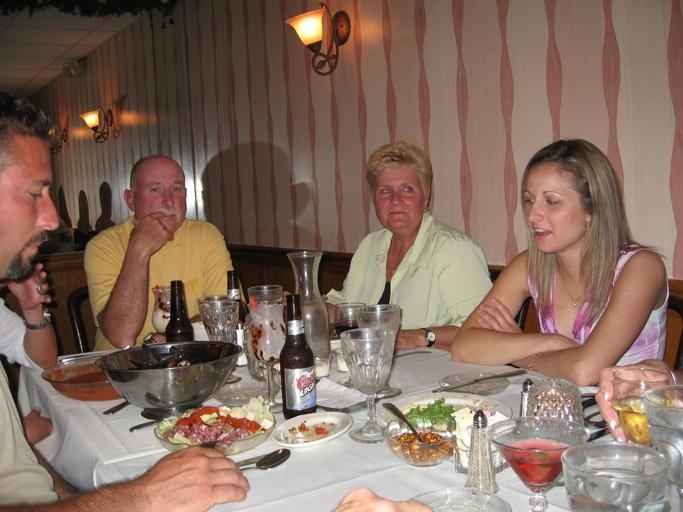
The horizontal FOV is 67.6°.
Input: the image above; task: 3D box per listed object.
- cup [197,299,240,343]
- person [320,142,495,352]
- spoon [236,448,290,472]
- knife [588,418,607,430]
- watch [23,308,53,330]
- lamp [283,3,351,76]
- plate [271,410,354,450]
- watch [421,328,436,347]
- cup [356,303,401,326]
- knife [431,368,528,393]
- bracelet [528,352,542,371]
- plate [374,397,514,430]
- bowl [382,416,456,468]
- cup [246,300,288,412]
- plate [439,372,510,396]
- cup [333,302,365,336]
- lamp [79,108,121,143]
[{"bbox_3d":[-0.453,0.232,1.894,0.152,0.182,0.158,1,-4,0],"label":"cup"},{"bbox_3d":[0.271,0.002,2.782,1.182,1.125,0.722,-1,-4,45],"label":"person"},{"bbox_3d":[-0.179,0.481,1.197,0.127,0.018,0.057,-6,5,-12],"label":"spoon"},{"bbox_3d":[0.619,0.407,1.230,0.045,0.012,0.047,-2,6,-1],"label":"knife"},{"bbox_3d":[-1.242,0.260,2.086,0.082,0.036,0.088,-4,16,-9],"label":"watch"},{"bbox_3d":[-0.177,-1.731,4.167,0.598,0.710,0.386,-14,17,-38],"label":"lamp"},{"bbox_3d":[-0.075,0.448,1.318,0.202,0.031,0.206,-9,3,-35],"label":"plate"},{"bbox_3d":[0.364,0.338,2.093,0.043,0.067,0.062,2,-38,-22],"label":"watch"},{"bbox_3d":[0.126,0.191,1.702,0.080,0.072,0.092,-3,-5,-2],"label":"cup"},{"bbox_3d":[0.440,0.398,1.613,0.305,0.018,0.036,-14,10,-25],"label":"knife"},{"bbox_3d":[0.707,0.390,1.883,0.054,0.070,0.074,-2,-4,14],"label":"bracelet"},{"bbox_3d":[0.258,0.386,1.253,0.155,0.023,0.160,-3,2,21],"label":"plate"},{"bbox_3d":[0.183,0.447,1.219,0.192,0.102,0.193,4,-14,1],"label":"bowl"},{"bbox_3d":[-0.230,0.305,1.618,0.140,0.367,0.145,-2,5,0],"label":"cup"},{"bbox_3d":[0.418,0.398,1.580,0.117,0.023,0.099,-4,-3,-19],"label":"plate"},{"bbox_3d":[0.022,0.244,1.977,0.108,0.167,0.115,1,-1,0],"label":"cup"},{"bbox_3d":[-3.741,-2.042,7.885,0.456,0.541,0.355,-15,6,0],"label":"lamp"}]
